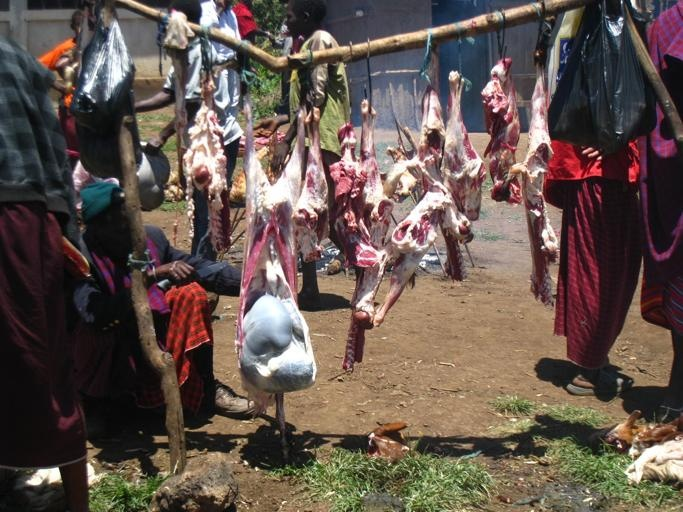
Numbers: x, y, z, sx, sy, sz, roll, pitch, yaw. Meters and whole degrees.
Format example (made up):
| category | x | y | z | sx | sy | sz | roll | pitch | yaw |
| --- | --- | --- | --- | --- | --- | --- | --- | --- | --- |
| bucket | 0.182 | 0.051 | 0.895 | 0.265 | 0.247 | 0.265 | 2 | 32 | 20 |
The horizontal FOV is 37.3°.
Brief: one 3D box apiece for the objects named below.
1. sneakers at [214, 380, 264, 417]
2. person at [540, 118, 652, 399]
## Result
| category | x | y | z | sx | sy | sz | roll | pitch | yaw |
| --- | --- | --- | --- | --- | --- | --- | --- | --- | --- |
| sneakers | -0.716 | 1.000 | 6.879 | 0.326 | 0.238 | 0.117 | 33 | 21 | 12 |
| person | 1.743 | -0.002 | 7.056 | 0.672 | 1.564 | 0.370 | 3 | 9 | 16 |
